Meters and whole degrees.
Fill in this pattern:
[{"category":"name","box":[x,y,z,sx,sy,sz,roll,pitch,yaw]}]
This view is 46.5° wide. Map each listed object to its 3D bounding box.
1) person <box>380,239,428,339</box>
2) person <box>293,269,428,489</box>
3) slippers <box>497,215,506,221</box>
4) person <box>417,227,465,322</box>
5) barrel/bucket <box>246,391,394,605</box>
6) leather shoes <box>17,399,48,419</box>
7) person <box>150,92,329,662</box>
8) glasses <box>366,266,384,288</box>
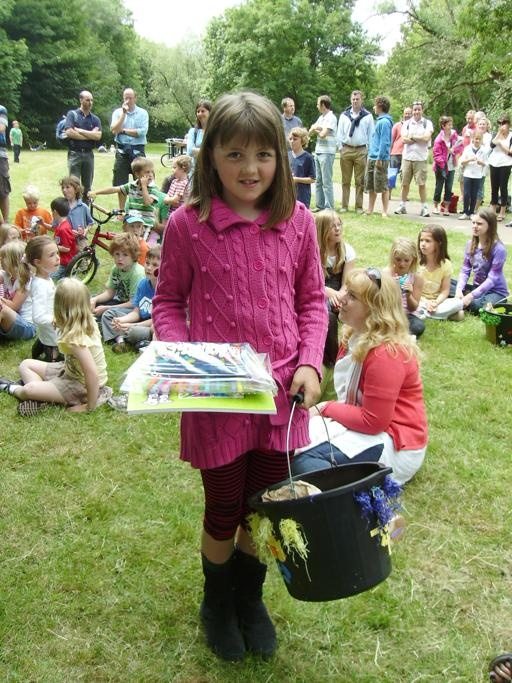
[{"category":"person","box":[1.248,-0.471,5.231,0.502,0.777,0.533,4,12,16]},{"category":"person","box":[0.514,0.229,2.868,0.530,1.161,0.488,0,6,-1]},{"category":"slippers","box":[4.581,-2.281,11.117,0.141,0.088,0.344,1,8,22]},{"category":"person","box":[1.808,-0.659,5.972,0.533,0.988,0.532,4,16,0]},{"category":"barrel/bucket","box":[0.198,0.463,1.637,0.432,0.628,0.369,1,12,-1]},{"category":"leather shoes","box":[-1.410,0.412,3.745,0.156,0.087,0.043,-1,-31,-23]},{"category":"person","box":[-0.023,0.193,1.813,0.637,1.560,0.616,3,6,23]},{"category":"glasses","box":[0.546,-0.299,2.748,0.084,0.079,0.026,2,3,42]}]
